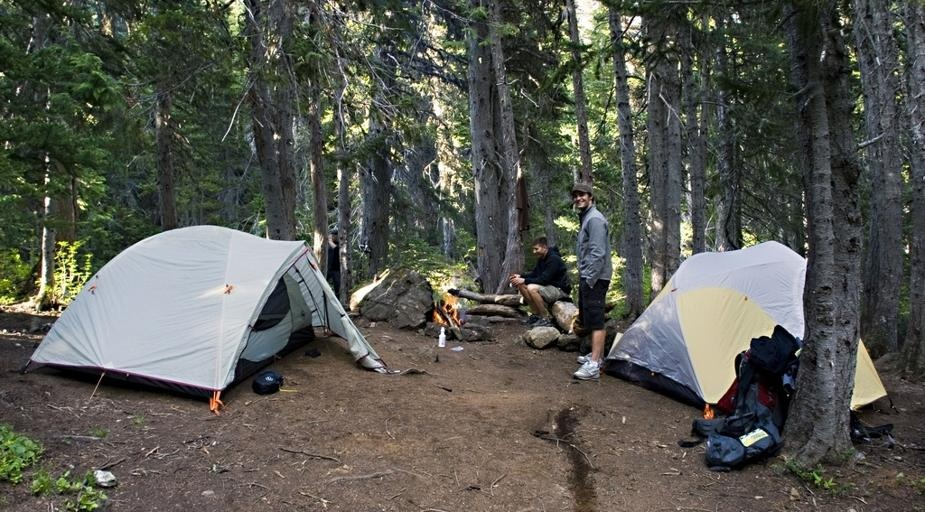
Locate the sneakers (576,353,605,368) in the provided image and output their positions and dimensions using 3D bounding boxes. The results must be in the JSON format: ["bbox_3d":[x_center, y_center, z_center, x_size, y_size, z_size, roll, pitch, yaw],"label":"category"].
[{"bbox_3d":[2.718,2.288,15.234,0.653,0.281,0.225,2,0,3],"label":"sneakers"}]

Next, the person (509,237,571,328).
[{"bbox_3d":[2.004,0.637,17.444,1.314,2.195,0.662,1,5,7],"label":"person"}]

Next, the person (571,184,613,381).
[{"bbox_3d":[2.750,0.517,15.206,0.797,4.201,1.035,1,5,8],"label":"person"}]
